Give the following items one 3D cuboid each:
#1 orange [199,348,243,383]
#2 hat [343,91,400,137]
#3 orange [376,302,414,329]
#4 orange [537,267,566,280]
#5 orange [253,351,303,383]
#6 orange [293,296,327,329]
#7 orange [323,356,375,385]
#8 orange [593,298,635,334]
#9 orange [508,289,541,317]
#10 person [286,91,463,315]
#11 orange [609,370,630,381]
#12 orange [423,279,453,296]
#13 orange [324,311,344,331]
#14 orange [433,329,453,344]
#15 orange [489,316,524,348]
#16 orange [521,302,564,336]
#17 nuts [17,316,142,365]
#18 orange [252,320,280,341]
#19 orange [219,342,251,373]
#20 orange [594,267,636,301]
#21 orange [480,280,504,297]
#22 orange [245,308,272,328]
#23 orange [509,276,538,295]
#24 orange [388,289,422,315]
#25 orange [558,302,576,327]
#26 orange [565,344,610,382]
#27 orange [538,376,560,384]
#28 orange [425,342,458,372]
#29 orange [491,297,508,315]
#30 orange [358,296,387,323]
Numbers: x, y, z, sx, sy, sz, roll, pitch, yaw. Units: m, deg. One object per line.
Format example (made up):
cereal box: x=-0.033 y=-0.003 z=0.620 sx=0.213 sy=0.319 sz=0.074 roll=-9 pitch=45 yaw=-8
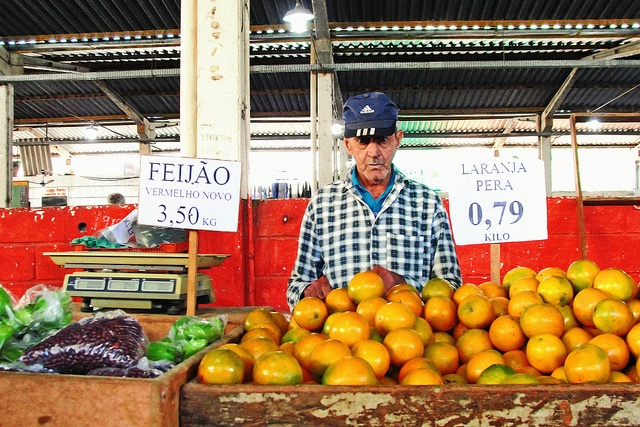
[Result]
orange: x=-0.515 y=0.798 z=3.148 sx=0.195 sy=0.209 sz=0.167 roll=-4 pitch=-19 yaw=-8
hat: x=0.359 y=-0.736 z=4.287 sx=0.449 sy=0.217 sz=0.621 roll=-4 pitch=28 yaw=10
orange: x=0.401 y=0.596 z=3.411 sx=0.182 sy=0.213 sz=0.188 roll=7 pitch=-9 yaw=0
orange: x=1.342 y=0.364 z=3.568 sx=0.120 sy=0.096 sz=0.095 roll=-3 pitch=-28 yaw=3
orange: x=-0.223 y=0.801 z=3.152 sx=0.197 sy=0.182 sz=0.173 roll=4 pitch=-26 yaw=-7
orange: x=-0.062 y=0.570 z=3.467 sx=0.183 sy=0.170 sz=0.162 roll=-1 pitch=-16 yaw=-3
orange: x=0.151 y=0.814 z=3.138 sx=0.285 sy=0.146 sz=0.099 roll=-3 pitch=-5 yaw=-2
orange: x=1.548 y=0.552 z=3.299 sx=0.207 sy=0.156 sz=0.156 roll=3 pitch=-24 yaw=-1
orange: x=1.121 y=0.493 z=3.395 sx=0.149 sy=0.168 sz=0.151 roll=-1 pitch=-9 yaw=45
person: x=0.353 y=0.250 z=4.433 sx=1.470 sy=2.078 sz=0.980 roll=-2 pitch=-4 yaw=24
orange: x=1.549 y=0.847 z=3.152 sx=0.095 sy=0.049 sz=0.170 roll=-5 pitch=-4 yaw=24
orange: x=0.684 y=0.432 z=3.554 sx=0.138 sy=0.112 sz=0.118 roll=5 pitch=-16 yaw=25
orange: x=0.060 y=0.600 z=3.398 sx=0.110 sy=0.117 sz=0.105 roll=4 pitch=9 yaw=-9
orange: x=0.690 y=0.695 z=3.419 sx=0.086 sy=0.064 sz=0.063 roll=7 pitch=17 yaw=10
orange: x=0.999 y=0.657 z=3.380 sx=0.179 sy=0.173 sz=0.160 roll=6 pitch=-36 yaw=-6
orange: x=1.192 y=0.568 z=3.365 sx=0.180 sy=0.159 sz=0.246 roll=1 pitch=5 yaw=35
nuts: x=-1.284 y=0.702 z=3.344 sx=0.655 sy=0.288 sz=0.219 roll=-3 pitch=-5 yaw=0
orange: x=-0.308 y=0.660 z=3.469 sx=0.114 sy=0.129 sz=0.114 roll=-1 pitch=-3 yaw=0
orange: x=-0.444 y=0.751 z=3.186 sx=0.157 sy=0.148 sz=0.141 roll=3 pitch=-15 yaw=-10
orange: x=1.632 y=0.386 z=3.366 sx=0.304 sy=0.152 sz=0.292 roll=-2 pitch=-3 yaw=6
orange: x=1.009 y=0.449 z=3.578 sx=0.095 sy=0.112 sz=0.088 roll=-13 pitch=-42 yaw=14
orange: x=-0.359 y=0.606 z=3.570 sx=0.122 sy=0.117 sz=0.112 roll=-8 pitch=-22 yaw=19
orange: x=1.167 y=0.428 z=3.497 sx=0.123 sy=0.116 sz=0.115 roll=-9 pitch=-19 yaw=29
orange: x=0.489 y=0.493 z=3.510 sx=0.154 sy=0.172 sz=0.141 roll=6 pitch=-31 yaw=8
orange: x=1.375 y=0.572 z=3.381 sx=0.111 sy=0.125 sz=0.106 roll=-1 pitch=-10 yaw=-5
orange: x=1.397 y=0.775 z=3.156 sx=0.247 sy=0.189 sz=0.071 roll=-3 pitch=-5 yaw=-3
orange: x=1.178 y=0.864 z=3.160 sx=0.063 sy=0.046 sz=0.048 roll=-7 pitch=4 yaw=35
orange: x=0.666 y=0.782 z=3.403 sx=0.166 sy=0.161 sz=0.149 roll=18 pitch=-27 yaw=7
orange: x=1.013 y=0.526 z=3.481 sx=0.090 sy=0.107 sz=0.086 roll=1 pitch=-42 yaw=9
orange: x=0.277 y=0.529 z=3.431 sx=0.144 sy=0.137 sz=0.161 roll=-15 pitch=-40 yaw=7
